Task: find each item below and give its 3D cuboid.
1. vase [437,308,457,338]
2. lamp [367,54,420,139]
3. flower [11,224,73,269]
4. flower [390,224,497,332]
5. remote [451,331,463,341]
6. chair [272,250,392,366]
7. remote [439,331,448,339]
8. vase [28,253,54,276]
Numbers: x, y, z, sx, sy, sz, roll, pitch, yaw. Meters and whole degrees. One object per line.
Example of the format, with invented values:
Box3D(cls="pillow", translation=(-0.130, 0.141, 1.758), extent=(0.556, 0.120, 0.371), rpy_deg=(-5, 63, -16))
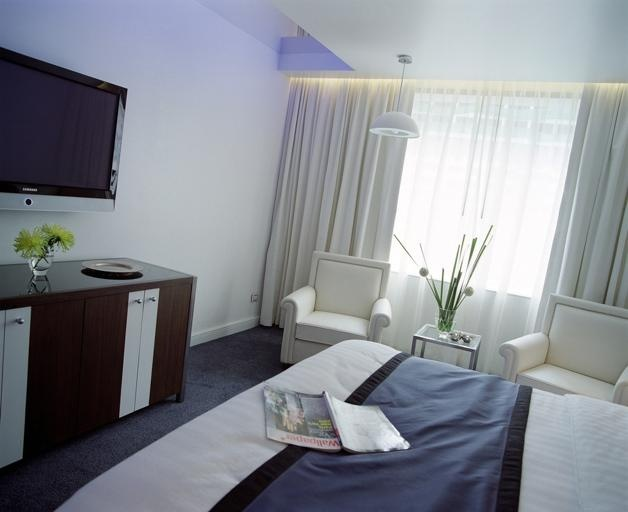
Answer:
Box3D(cls="vase", translation=(1.104, 0.564, 3.470), extent=(0.141, 0.240, 0.110), rpy_deg=(9, 13, 13))
Box3D(cls="lamp", translation=(0.684, -1.276, 3.311), extent=(0.379, 0.685, 0.383), rpy_deg=(7, -4, 29))
Box3D(cls="flower", translation=(-1.507, -0.076, 2.319), extent=(0.276, 0.241, 0.262), rpy_deg=(4, 13, -44))
Box3D(cls="flower", translation=(1.133, 0.128, 3.877), extent=(0.878, 0.919, 0.901), rpy_deg=(12, 14, 23))
Box3D(cls="remote", translation=(1.192, 0.672, 3.472), extent=(0.079, 0.042, 0.151), rpy_deg=(16, 16, 36))
Box3D(cls="chair", translation=(0.219, 0.432, 3.908), extent=(1.084, 1.310, 0.921), rpy_deg=(6, 0, 12))
Box3D(cls="remote", translation=(1.086, 0.664, 3.473), extent=(0.091, 0.068, 0.051), rpy_deg=(4, 7, 23))
Box3D(cls="vase", translation=(-1.480, 0.042, 2.284), extent=(0.122, 0.129, 0.134), rpy_deg=(3, 2, -16))
